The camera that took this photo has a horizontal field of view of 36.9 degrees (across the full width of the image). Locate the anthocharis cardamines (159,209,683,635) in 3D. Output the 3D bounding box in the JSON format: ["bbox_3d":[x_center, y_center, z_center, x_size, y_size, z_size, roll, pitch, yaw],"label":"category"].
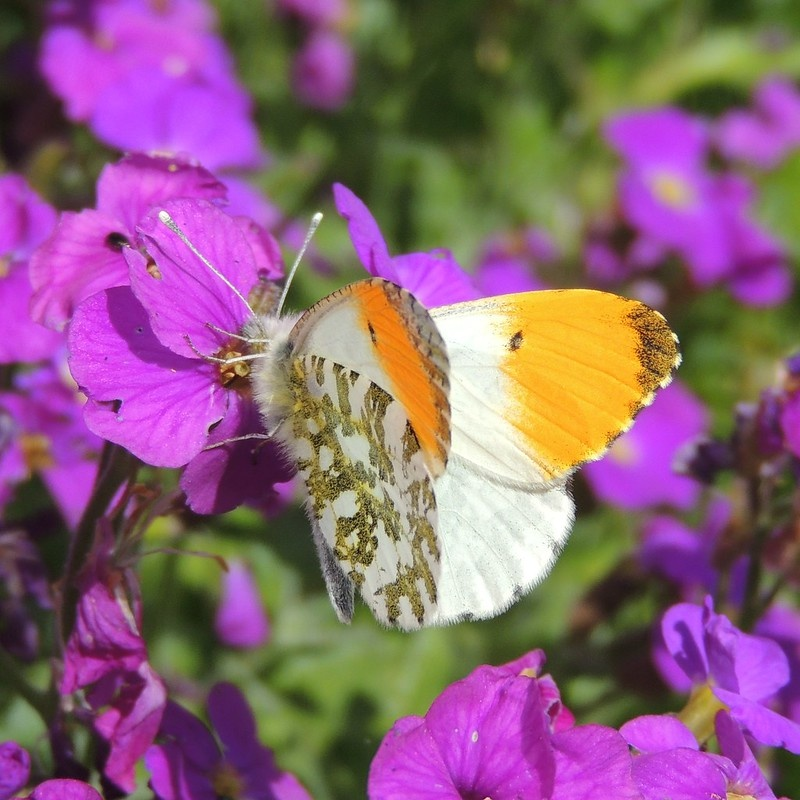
[{"bbox_3d":[-0.058,-0.018,0.956,0.518,0.337,0.281,4,102,43],"label":"anthocharis cardamines"}]

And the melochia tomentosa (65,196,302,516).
[{"bbox_3d":[-0.153,-0.027,0.865,0.133,0.134,0.217,-3,81,0],"label":"melochia tomentosa"}]
